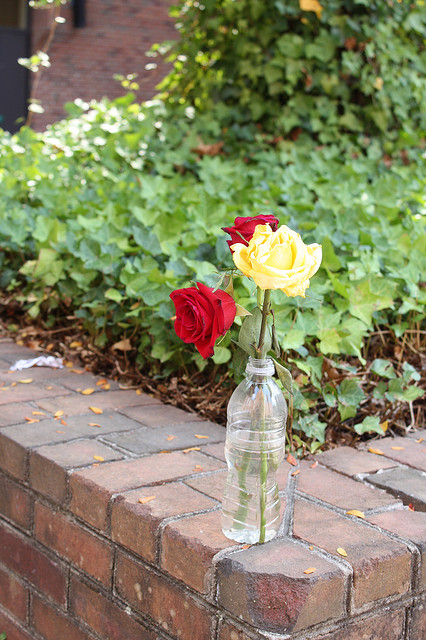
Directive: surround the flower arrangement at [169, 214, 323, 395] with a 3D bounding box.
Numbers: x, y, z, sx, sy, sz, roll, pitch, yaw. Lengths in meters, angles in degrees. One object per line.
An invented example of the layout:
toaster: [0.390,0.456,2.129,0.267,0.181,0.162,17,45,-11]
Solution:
flower arrangement: [0.036,-0.003,0.756,0.178,0.224,0.135,-6,34,-12]
